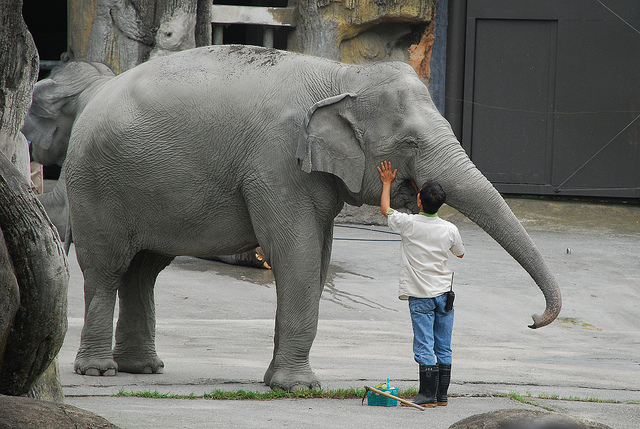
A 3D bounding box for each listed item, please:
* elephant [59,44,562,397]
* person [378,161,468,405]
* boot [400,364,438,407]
[{"bbox_3d":[-0.208,0.088,12.669,5.118,3.273,1.914,1,6,8],"label":"elephant"},{"bbox_3d":[0.964,0.723,11.645,0.655,2.005,0.564,4,11,2],"label":"person"},{"bbox_3d":[0.935,1.603,11.602,0.364,0.379,0.187,0,-7,0],"label":"boot"}]
